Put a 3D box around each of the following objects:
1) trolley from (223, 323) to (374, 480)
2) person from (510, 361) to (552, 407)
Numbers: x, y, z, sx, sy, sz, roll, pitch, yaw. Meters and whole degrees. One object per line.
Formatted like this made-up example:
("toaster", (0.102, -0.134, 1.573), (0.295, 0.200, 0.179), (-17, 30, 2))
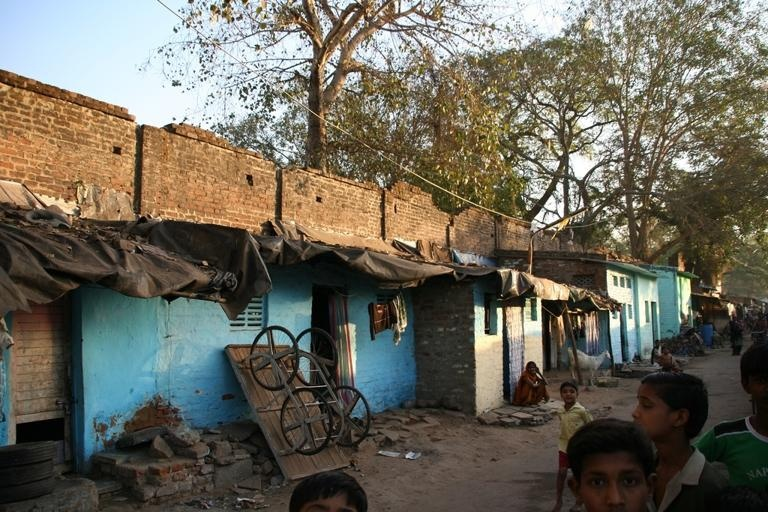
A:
("trolley", (-1.896, 2.714, 11.037), (1.371, 2.835, 2.134), (-28, -11, 30))
("person", (3.830, 3.380, 15.650), (0.959, 1.122, 0.744), (1, 1, -17))
